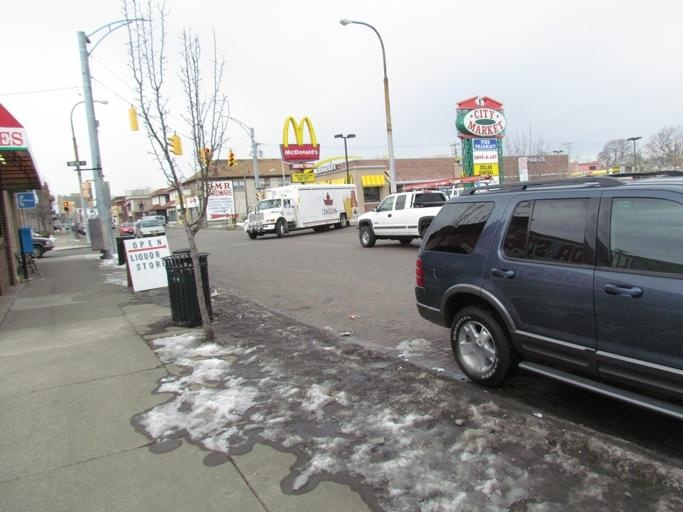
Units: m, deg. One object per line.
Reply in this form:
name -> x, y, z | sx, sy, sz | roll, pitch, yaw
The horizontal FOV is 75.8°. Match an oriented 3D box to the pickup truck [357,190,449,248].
pickup truck -> 2.709, -1.648, 18.711 | 2.037, 1.640, 3.808 | -7, 9, -41
